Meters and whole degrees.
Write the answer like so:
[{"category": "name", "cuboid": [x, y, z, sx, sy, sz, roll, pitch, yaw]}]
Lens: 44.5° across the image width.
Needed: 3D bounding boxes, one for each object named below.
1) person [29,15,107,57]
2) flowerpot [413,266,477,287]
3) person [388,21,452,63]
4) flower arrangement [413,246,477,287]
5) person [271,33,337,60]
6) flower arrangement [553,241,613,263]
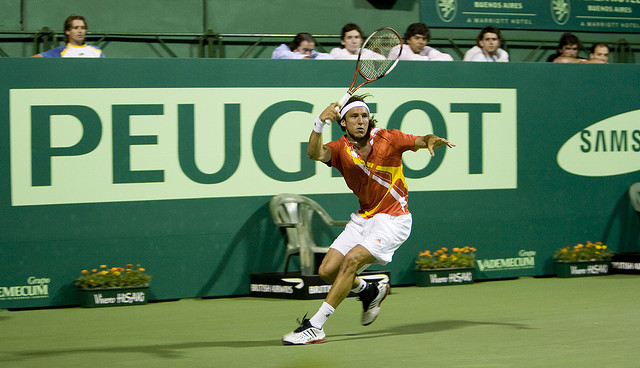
[{"category": "person", "cuboid": [-4.284, -2.536, 13.576, 1.021, 0.711, 0.788, -3, 11, -9]}, {"category": "flowerpot", "cuboid": [2.258, 1.683, 14.159, 0.744, 0.227, 0.457, -1, -3, -12]}, {"category": "person", "cuboid": [1.879, -2.513, 14.436, 1.318, 0.525, 1.276, -1, 2, -4]}, {"category": "flower arrangement", "cuboid": [2.346, 1.555, 14.334, 1.107, 0.650, 0.414, -3, -11, -2]}, {"category": "person", "cuboid": [-0.324, -2.452, 14.354, 1.000, 0.664, 0.947, 0, 0, 8]}, {"category": "flower arrangement", "cuboid": [4.915, 1.296, 14.764, 0.761, 0.221, 0.431, -2, -2, -5]}]
